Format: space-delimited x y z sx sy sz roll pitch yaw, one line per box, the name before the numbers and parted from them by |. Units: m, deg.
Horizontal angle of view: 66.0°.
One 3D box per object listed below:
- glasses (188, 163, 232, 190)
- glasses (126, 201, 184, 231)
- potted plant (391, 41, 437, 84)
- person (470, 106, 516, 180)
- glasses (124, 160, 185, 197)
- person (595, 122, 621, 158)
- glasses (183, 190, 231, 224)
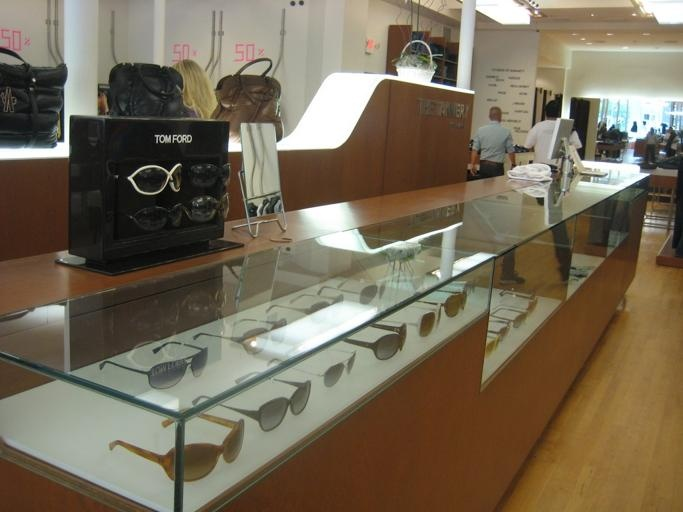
glasses | -0.373 -0.226 1.441 0.072 0.027 0.080 7 17 17
glasses | -0.479 -0.097 1.365 0.042 0.070 0.168 7 15 24
potted plant | 0.578 -1.579 4.224 0.334 0.366 0.627 4 14 9
person | 2.205 -1.626 7.670 0.573 1.038 0.835 5 13 14
glasses | -0.469 -0.190 1.319 0.035 0.080 0.157 8 15 28
person | 8.230 -3.523 16.133 0.242 1.031 1.055 4 6 41
glasses | -0.393 -0.139 1.478 0.087 0.031 0.089 4 20 20
